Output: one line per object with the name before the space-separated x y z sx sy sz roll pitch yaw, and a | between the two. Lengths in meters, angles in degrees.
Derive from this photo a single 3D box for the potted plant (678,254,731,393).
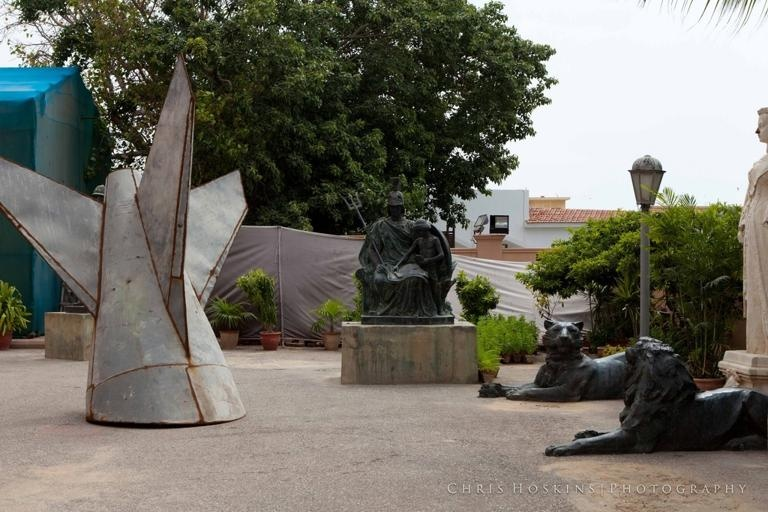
potted plant | 4.928 1.092 11.034 0.801 2.348 0.721 -1 -5 -19

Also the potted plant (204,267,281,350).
potted plant | -3.319 1.240 17.136 1.693 1.427 1.459 2 -2 -7

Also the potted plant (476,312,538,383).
potted plant | 2.384 1.824 13.793 0.903 1.336 1.454 2 1 6

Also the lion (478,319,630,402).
lion | 2.121 1.537 10.216 2.432 1.092 0.886 2 -7 -12

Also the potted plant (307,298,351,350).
potted plant | -1.319 1.591 17.168 0.754 1.313 0.723 -3 6 -3
